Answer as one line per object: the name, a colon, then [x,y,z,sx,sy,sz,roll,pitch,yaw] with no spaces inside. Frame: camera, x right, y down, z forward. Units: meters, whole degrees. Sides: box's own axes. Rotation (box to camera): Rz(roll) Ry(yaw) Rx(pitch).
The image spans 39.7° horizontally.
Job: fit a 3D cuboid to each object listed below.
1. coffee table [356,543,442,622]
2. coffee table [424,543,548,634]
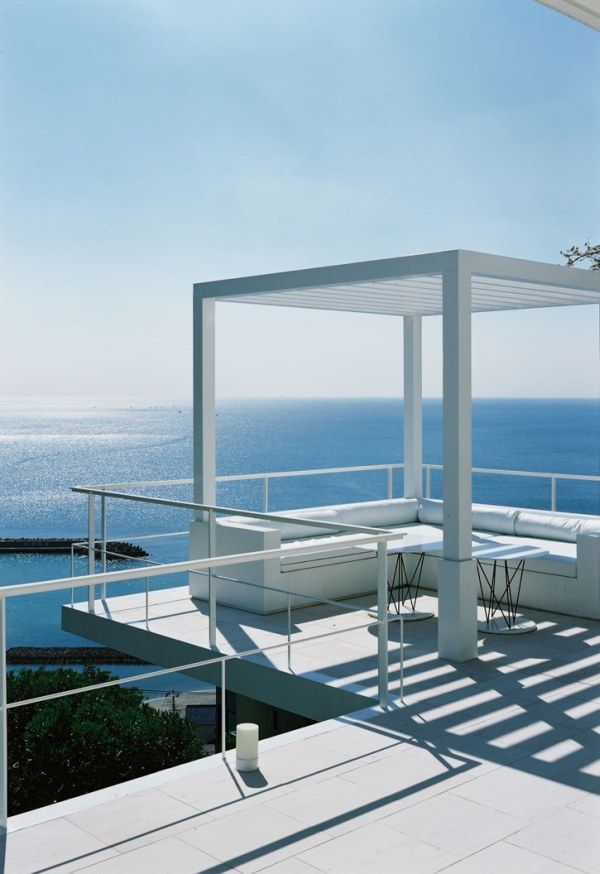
coffee table: [0.787,1.122,6.467,0.511,0.500,0.532,0,-7,16]
coffee table: [1.426,1.071,5.995,0.678,0.599,0.641,-4,5,-37]
